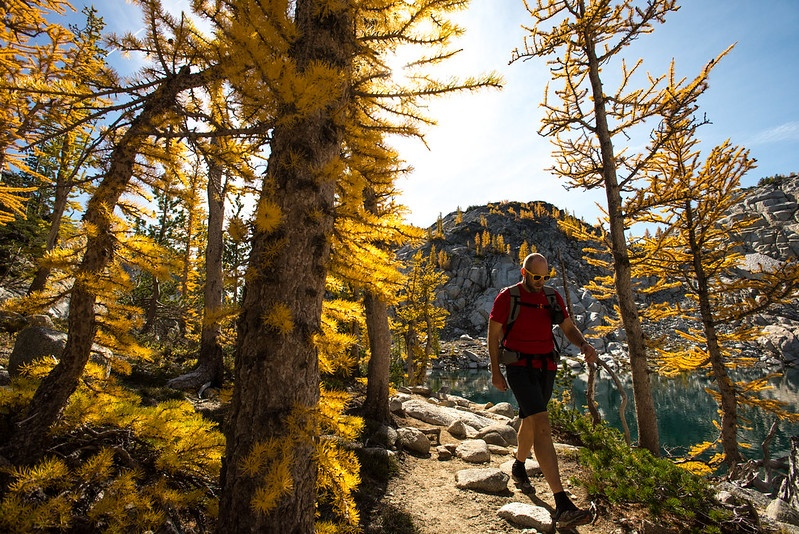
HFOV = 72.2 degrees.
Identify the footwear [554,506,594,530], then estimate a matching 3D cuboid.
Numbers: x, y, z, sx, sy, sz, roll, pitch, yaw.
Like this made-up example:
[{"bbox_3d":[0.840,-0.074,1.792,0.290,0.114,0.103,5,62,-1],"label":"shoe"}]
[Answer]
[{"bbox_3d":[3.154,4.569,9.929,0.757,0.385,0.285,-17,-38,18],"label":"footwear"}]
